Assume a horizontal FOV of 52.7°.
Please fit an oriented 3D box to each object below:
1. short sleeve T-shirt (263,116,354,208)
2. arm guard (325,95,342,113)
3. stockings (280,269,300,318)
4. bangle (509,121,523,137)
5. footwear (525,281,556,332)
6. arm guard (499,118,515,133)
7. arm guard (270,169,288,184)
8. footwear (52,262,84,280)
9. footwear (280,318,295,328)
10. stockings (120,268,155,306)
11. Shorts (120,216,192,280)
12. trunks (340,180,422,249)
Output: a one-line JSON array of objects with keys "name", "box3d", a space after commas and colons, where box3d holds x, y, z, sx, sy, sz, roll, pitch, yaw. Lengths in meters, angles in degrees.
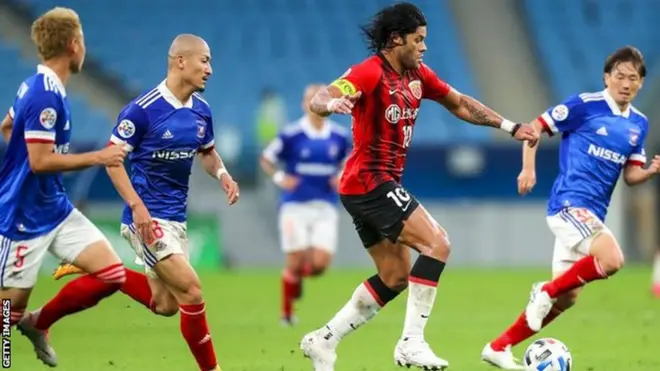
[{"name": "short sleeve T-shirt", "box3d": [-0.359, -0.322, 11.060, 1.998, 1.640, 0.636, 1, -7, -1]}, {"name": "arm guard", "box3d": [0.050, -0.870, 7.183, 0.152, 0.156, 0.129, -3, 0, 33]}, {"name": "stockings", "box3d": [-0.593, 1.655, 10.012, 0.249, 0.745, 0.432, -3, 0, 26]}, {"name": "bangle", "box3d": [2.243, -0.664, 8.028, 0.068, 0.155, 0.141, 39, 7, -12]}, {"name": "footwear", "box3d": [2.512, 1.482, 8.209, 0.271, 0.658, 0.295, 20, 1, -14]}, {"name": "arm guard", "box3d": [2.147, -0.710, 8.123, 0.182, 0.179, 0.066, 17, -11, 15]}, {"name": "arm guard", "box3d": [-0.805, -0.119, 10.705, 0.230, 0.229, 0.127, 42, -1, 10]}, {"name": "footwear", "box3d": [-3.275, 1.066, 8.262, 0.481, 0.181, 0.271, 3, -11, -26]}, {"name": "footwear", "box3d": [-0.620, 2.018, 9.808, 0.203, 0.136, 0.147, -3, 0, -5]}, {"name": "stockings", "box3d": [-2.340, 1.250, 8.109, 0.439, 0.106, 0.446, 37, -48, -14]}, {"name": "Shorts", "box3d": [-2.033, 0.699, 7.942, 0.667, 0.755, 0.857, -27, -12, 7]}, {"name": "trunks", "box3d": [0.575, 0.355, 7.715, 0.845, 0.763, 0.314, -3, 0, 32]}]
